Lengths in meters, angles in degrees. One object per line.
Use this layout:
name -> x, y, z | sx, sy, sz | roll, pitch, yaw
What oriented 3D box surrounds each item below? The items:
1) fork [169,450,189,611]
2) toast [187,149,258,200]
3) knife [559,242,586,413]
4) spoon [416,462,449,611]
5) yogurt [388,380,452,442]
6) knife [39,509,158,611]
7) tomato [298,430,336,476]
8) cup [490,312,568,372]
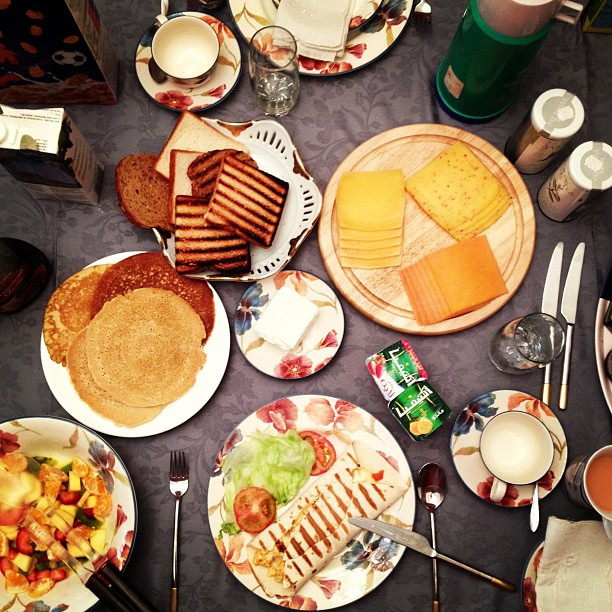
fork -> -0.385, 0.684, 1.792 | 0.054, 0.051, 0.436 | 1, 77, -7
toast -> -0.287, -0.435, 1.929 | 0.152, 0.081, 0.122 | 36, 57, 26
knife -> 0.847, 0.044, 1.871 | 0.072, 0.027, 0.595 | 6, 77, 4
spoon -> 0.387, 0.705, 1.785 | 0.098, 0.050, 0.423 | 3, 82, -15
yogurt -> 0.329, 0.317, 1.804 | 0.227, 0.157, 0.185 | 4, 45, 3
knife -> -0.610, 0.736, 1.659 | 0.498, 0.038, 0.081 | 36, 37, 9
tomato -> 0.041, 0.452, 1.798 | 0.094, 0.036, 0.142 | -15, 81, -4
cup -> 0.743, 0.123, 1.864 | 0.128, 0.199, 0.214 | 34, 64, 27
